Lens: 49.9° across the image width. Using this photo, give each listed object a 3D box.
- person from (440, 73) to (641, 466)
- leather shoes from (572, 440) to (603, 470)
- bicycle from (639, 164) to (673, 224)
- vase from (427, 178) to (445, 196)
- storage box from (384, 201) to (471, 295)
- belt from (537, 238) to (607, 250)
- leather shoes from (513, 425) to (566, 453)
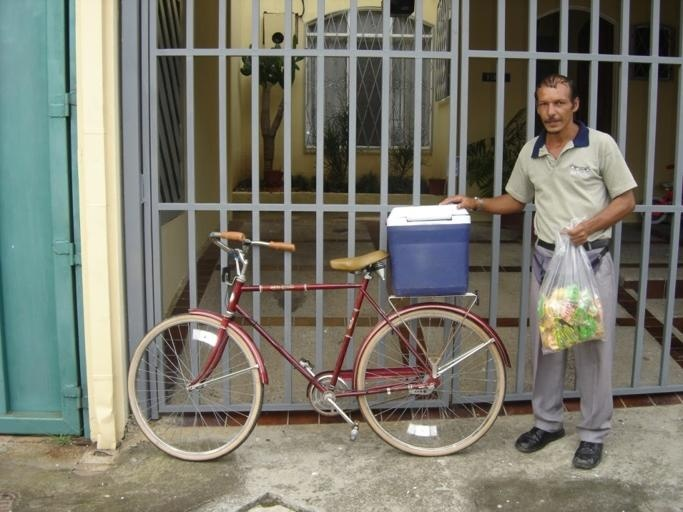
[{"bbox_3d":[1.255,0.071,4.213,0.768,2.158,0.549,2,13,22],"label":"person"},{"bbox_3d":[1.389,1.123,4.159,0.081,0.109,0.256,-1,0,25],"label":"leather shoes"},{"bbox_3d":[4.656,-0.837,10.651,0.264,0.756,2.500,2,14,23],"label":"bicycle"},{"bbox_3d":[1.460,-1.068,11.277,0.376,0.325,0.334,0,3,-1],"label":"vase"},{"bbox_3d":[0.492,-0.065,4.256,0.440,0.477,0.456,-1,6,-1],"label":"storage box"},{"bbox_3d":[1.303,-0.067,4.157,0.393,0.066,0.185,1,13,17],"label":"belt"},{"bbox_3d":[1.159,1.071,4.323,0.291,0.128,0.113,-14,25,-10],"label":"leather shoes"}]
